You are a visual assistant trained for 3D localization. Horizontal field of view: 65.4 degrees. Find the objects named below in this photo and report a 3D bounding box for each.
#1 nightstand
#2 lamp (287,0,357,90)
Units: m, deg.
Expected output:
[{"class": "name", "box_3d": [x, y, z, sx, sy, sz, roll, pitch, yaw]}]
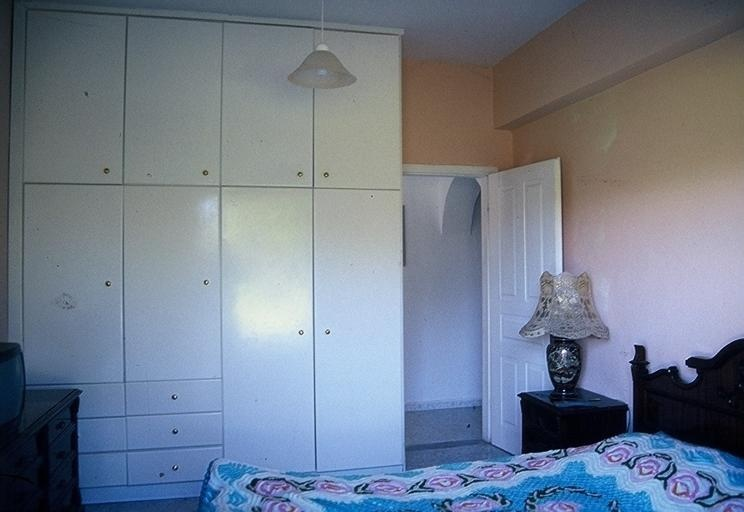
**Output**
[{"class": "nightstand", "box_3d": [1.441, 1.168, 4.132, 0.485, 0.572, 0.593, 0, 0, -8]}, {"class": "lamp", "box_3d": [-0.382, -1.490, 4.023, 0.416, 0.630, 1.101, -1, 15, -9]}]
